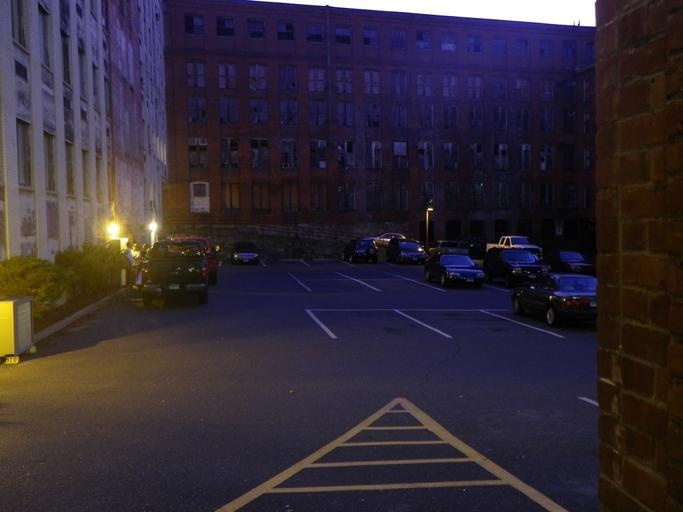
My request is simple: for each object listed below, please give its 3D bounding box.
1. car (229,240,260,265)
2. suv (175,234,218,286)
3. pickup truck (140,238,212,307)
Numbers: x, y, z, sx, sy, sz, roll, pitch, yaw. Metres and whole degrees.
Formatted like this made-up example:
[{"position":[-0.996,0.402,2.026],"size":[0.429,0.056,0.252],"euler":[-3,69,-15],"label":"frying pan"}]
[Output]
[{"position":[-6.651,-0.176,47.790],"size":[1.740,1.449,2.110],"euler":[0,3,-16],"label":"car"},{"position":[-6.002,0.172,29.431],"size":[1.480,1.567,3.074],"euler":[0,0,-7],"label":"suv"},{"position":[-5.477,0.501,22.605],"size":[1.987,2.002,3.242],"euler":[-1,3,-17],"label":"pickup truck"}]
